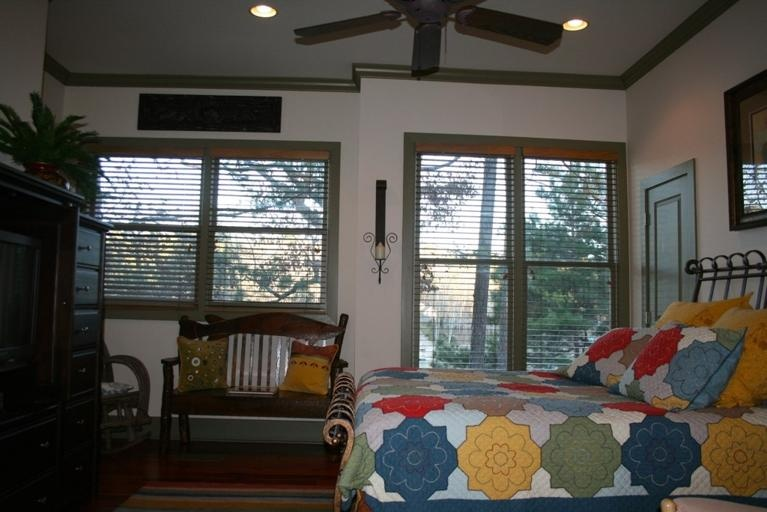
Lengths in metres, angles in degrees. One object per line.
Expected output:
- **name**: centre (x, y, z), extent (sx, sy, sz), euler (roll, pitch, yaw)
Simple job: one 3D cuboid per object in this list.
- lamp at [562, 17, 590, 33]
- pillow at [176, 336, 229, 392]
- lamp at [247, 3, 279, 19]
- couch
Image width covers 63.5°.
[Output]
- **lamp**: centre (1.709, -2.056, 5.538), extent (0.218, 0.078, 0.173), euler (3, 9, 16)
- **pillow**: centre (-1.662, 1.007, 5.717), extent (0.433, 0.429, 0.154), euler (5, -21, -25)
- **lamp**: centre (-1.045, -2.124, 5.401), extent (0.244, 0.085, 0.175), euler (2, 9, 11)
- **couch**: centre (-1.167, 1.162, 5.773), extent (1.590, 1.150, 0.593), euler (3, -2, -6)
